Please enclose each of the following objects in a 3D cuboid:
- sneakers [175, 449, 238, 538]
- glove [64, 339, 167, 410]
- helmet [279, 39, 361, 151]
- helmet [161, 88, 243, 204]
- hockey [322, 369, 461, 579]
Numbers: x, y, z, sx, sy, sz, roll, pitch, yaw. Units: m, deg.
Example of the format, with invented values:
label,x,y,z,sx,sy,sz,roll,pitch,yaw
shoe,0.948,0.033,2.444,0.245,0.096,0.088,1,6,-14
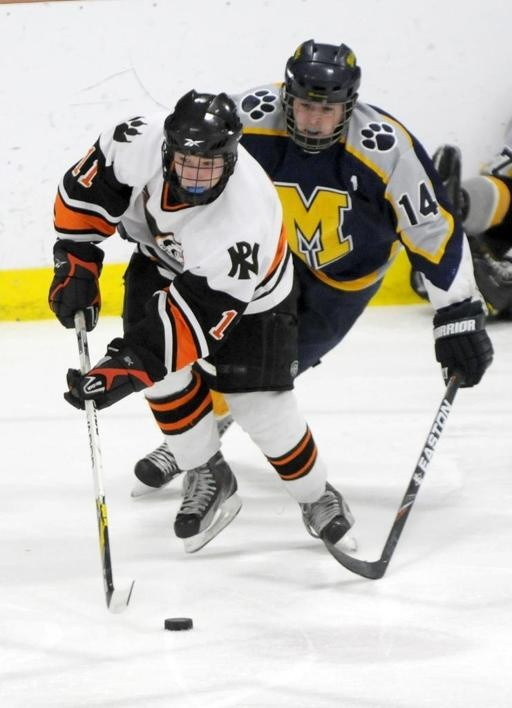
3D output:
label,x,y,z,sx,sy,sz,roll,pitch,yaw
sneakers,-0.110,0.315,1.739,0.081,0.129,0.237,-2,26,29
glove,-0.261,0.047,1.426,0.186,0.068,0.103,-24,64,-16
helmet,0.162,-0.605,1.833,0.213,0.254,0.242,7,60,8
helmet,-0.084,-0.386,1.464,0.183,0.206,0.205,6,45,5
hockey,0.327,0.287,1.746,0.179,0.051,0.630,27,48,11
